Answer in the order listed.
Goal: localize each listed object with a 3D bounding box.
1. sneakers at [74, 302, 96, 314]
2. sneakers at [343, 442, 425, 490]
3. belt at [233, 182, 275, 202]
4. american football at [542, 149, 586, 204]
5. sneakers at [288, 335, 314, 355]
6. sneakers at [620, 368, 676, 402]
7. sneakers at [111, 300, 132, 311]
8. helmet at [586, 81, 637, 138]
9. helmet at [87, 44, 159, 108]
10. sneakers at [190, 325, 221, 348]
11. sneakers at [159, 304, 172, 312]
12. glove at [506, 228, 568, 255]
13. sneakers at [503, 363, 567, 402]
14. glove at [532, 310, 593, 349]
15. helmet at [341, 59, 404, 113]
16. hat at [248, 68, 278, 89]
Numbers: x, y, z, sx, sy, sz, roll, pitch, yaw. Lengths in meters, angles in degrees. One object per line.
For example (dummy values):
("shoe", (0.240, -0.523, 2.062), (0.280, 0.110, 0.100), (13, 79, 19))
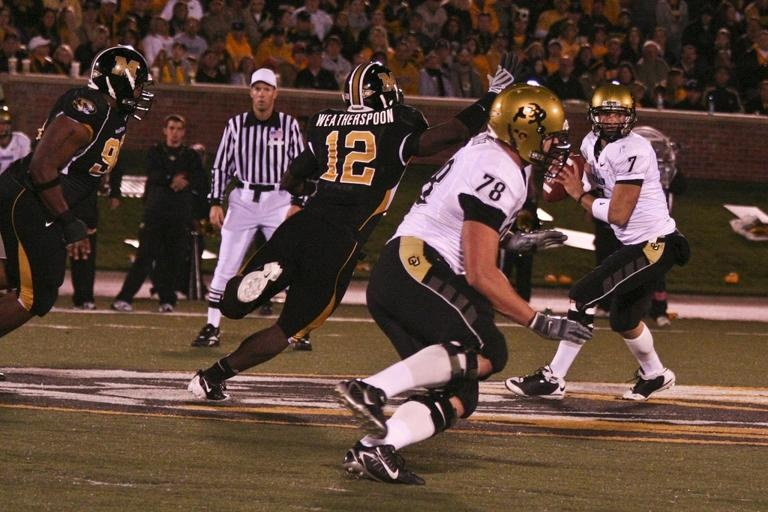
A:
("sneakers", (-3.398, 0.584, 11.527), (0.314, 0.107, 0.099), (8, 2, 33))
("sneakers", (-0.032, 1.272, 6.269), (0.656, 0.264, 0.202), (6, 8, -5))
("belt", (-1.271, -0.601, 9.922), (0.254, 0.105, 0.236), (3, -3, -31))
("american football", (1.477, -0.629, 8.461), (0.211, 0.336, 0.512), (9, -3, 12))
("sneakers", (-0.795, 0.854, 9.779), (0.210, 0.203, 0.527), (1, -8, -4))
("sneakers", (2.161, 1.026, 8.320), (0.482, 0.250, 0.231), (0, 9, -17))
("sneakers", (-2.981, 0.557, 11.496), (0.142, 0.062, 0.161), (1, -6, 11))
("helmet", (1.915, -1.225, 8.511), (0.417, 0.393, 0.499), (1, 15, 5))
("helmet", (-1.959, -1.327, 7.574), (0.583, 0.496, 0.431), (-11, 19, -27))
("sneakers", (-1.688, 0.772, 9.681), (0.334, 0.167, 0.146), (0, -5, 20))
("sneakers", (-2.520, 0.584, 11.709), (0.161, 0.090, 0.090), (0, 9, -12))
("glove", (0.997, -0.087, 6.665), (0.429, 0.132, 0.152), (-2, 3, 1))
("sneakers", (1.200, 1.004, 8.138), (0.593, 0.246, 0.192), (10, 2, -25))
("glove", (1.214, 0.473, 6.481), (0.531, 0.145, 0.276), (14, 2, 41))
("helmet", (-0.061, -1.249, 7.414), (0.364, 0.362, 0.482), (0, 11, 33))
("hat", (-1.177, -1.791, 10.027), (0.301, 0.170, 0.378), (2, -3, 3))
